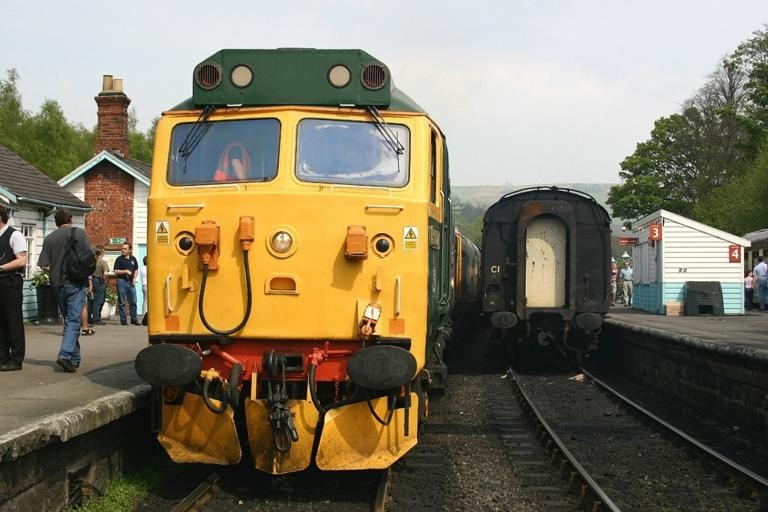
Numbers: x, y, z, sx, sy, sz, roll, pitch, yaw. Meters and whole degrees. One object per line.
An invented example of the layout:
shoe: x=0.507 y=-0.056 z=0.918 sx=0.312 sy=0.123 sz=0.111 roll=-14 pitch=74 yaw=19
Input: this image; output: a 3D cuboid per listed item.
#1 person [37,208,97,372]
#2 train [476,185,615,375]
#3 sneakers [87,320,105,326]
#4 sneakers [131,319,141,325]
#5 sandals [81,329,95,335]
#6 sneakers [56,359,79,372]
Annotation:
person: x=-4.853 y=0.505 z=9.442 sx=0.752 sy=2.534 sz=0.557 roll=0 pitch=-3 yaw=19
train: x=4.091 y=0.423 z=17.813 sx=2.662 sy=4.264 sz=7.182 roll=0 pitch=-3 yaw=6
sneakers: x=-8.029 y=1.863 z=17.209 sx=0.393 sy=0.303 sz=0.139 roll=-1 pitch=1 yaw=-6
sneakers: x=-7.158 y=1.915 z=17.858 sx=0.413 sy=0.194 sz=0.146 roll=-1 pitch=1 yaw=10
sandals: x=-7.043 y=1.799 z=14.662 sx=0.125 sy=0.153 sz=0.361 roll=1 pitch=3 yaw=16
sneakers: x=-4.852 y=1.664 z=9.415 sx=0.239 sy=0.226 sz=0.420 roll=2 pitch=-3 yaw=-19
